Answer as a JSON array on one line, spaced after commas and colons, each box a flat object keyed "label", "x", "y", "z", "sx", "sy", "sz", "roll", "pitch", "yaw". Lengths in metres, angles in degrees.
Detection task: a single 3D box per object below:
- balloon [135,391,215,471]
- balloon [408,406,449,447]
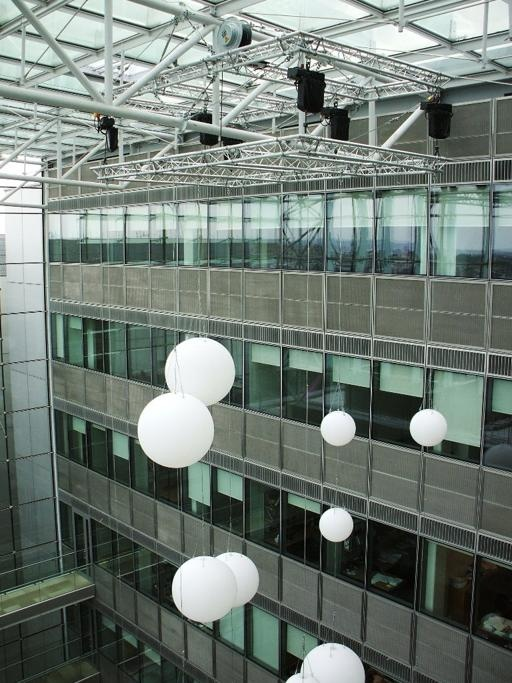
[{"label": "balloon", "x": -0.751, "y": 0.907, "z": 7.573, "sx": 0.664, "sy": 0.748, "sz": 0.650, "roll": 14, "pitch": 6, "yaw": -38}, {"label": "balloon", "x": 2.600, "y": 1.242, "z": 11.265, "sx": 0.542, "sy": 0.619, "sz": 0.537, "roll": -4, "pitch": 6, "yaw": -32}]
